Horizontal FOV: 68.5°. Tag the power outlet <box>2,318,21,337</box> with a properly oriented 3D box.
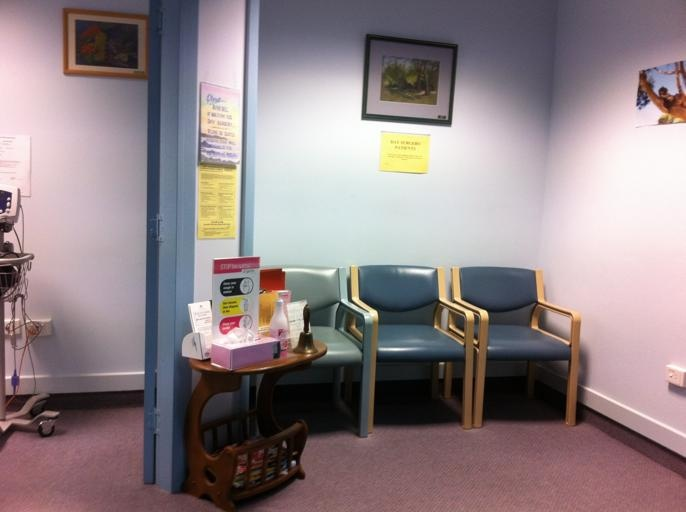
[{"bbox_3d":[-2.192,0.460,3.334,0.109,0.112,0.100,1,0,-36],"label":"power outlet"}]

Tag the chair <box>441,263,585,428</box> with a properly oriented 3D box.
[{"bbox_3d":[1.195,0.580,3.852,0.939,1.539,0.996,0,2,-10],"label":"chair"}]

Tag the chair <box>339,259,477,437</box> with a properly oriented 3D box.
[{"bbox_3d":[0.436,0.599,3.775,0.910,1.484,1.000,0,3,-8],"label":"chair"}]

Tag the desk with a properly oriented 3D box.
[{"bbox_3d":[-0.488,0.956,2.930,0.925,0.954,0.701,0,0,-45],"label":"desk"}]

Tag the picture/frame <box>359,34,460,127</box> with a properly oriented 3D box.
[{"bbox_3d":[0.458,-1.306,3.684,0.575,0.550,0.049,4,4,-10],"label":"picture/frame"}]

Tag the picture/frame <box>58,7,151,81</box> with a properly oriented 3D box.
[{"bbox_3d":[-1.576,-1.392,3.275,0.649,0.609,0.030,0,-1,-15],"label":"picture/frame"}]
